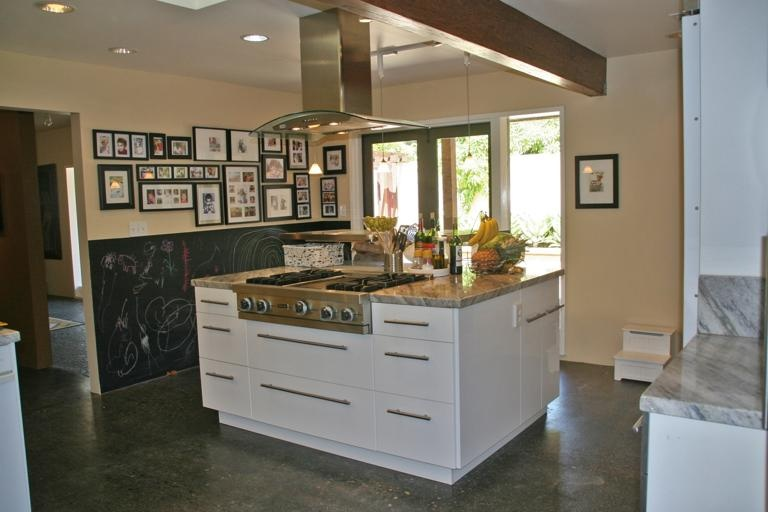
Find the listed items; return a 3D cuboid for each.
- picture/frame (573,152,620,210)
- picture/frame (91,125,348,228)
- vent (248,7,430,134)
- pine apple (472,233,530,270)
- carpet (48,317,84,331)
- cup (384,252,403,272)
[{"bbox_3d":[2.139,-0.762,5.365,0.611,0.765,0.033,1,6,31],"label":"picture/frame"},{"bbox_3d":[-1.807,-0.854,5.945,0.140,1.085,2.580,8,13,43],"label":"picture/frame"},{"bbox_3d":[-0.374,-1.364,4.001,0.913,0.854,0.559,-2,10,1],"label":"vent"},{"bbox_3d":[0.892,-0.026,4.191,0.421,0.287,0.225,-1,10,5],"label":"pine apple"},{"bbox_3d":[-4.582,0.934,7.760,0.393,0.039,0.831,-8,11,-34],"label":"carpet"},{"bbox_3d":[0.080,0.047,4.316,0.153,0.152,0.156,0,-2,0],"label":"cup"}]
